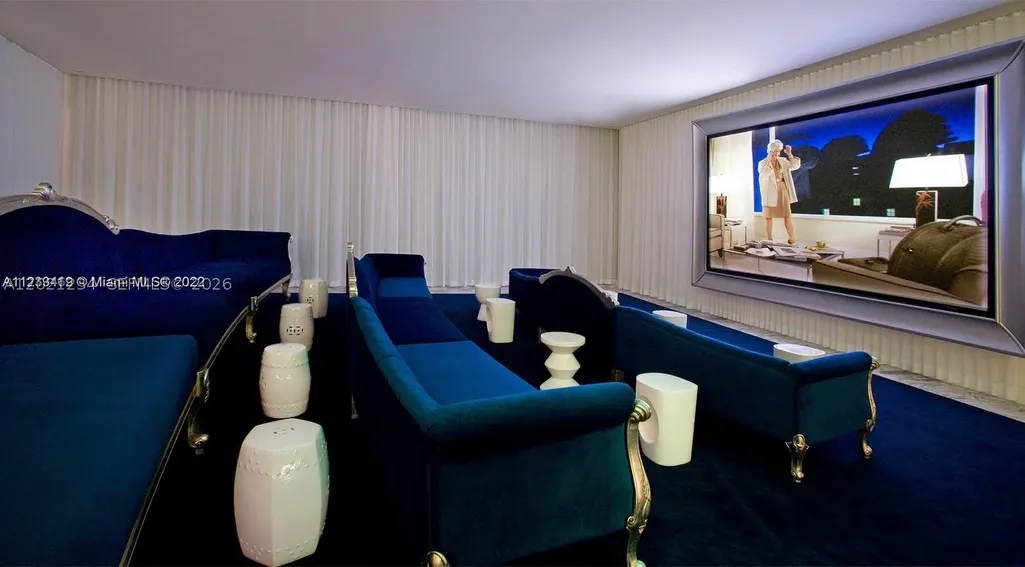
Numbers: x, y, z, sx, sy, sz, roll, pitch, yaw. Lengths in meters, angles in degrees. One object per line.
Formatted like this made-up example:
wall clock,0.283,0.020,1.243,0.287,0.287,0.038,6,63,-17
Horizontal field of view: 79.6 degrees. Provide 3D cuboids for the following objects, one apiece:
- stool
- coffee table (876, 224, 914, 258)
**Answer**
stool,-1.959,1.171,5.152,0.594,0.707,2.058,4,28,-19
coffee table,4.260,-0.474,6.912,0.316,0.582,0.334,-8,8,-38
